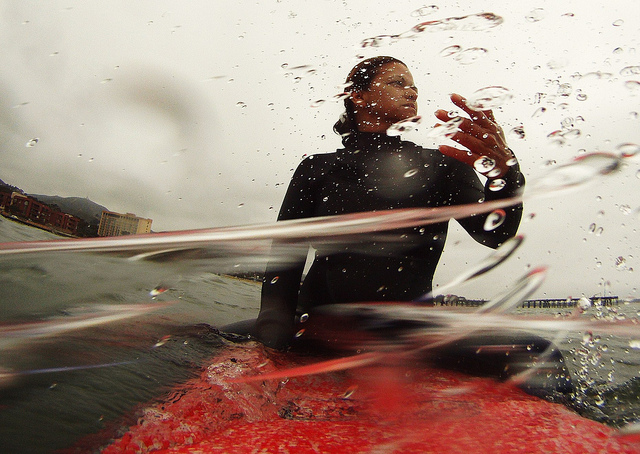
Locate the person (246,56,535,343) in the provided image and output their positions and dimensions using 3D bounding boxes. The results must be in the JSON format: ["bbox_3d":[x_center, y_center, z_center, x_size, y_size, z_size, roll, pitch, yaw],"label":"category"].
[{"bbox_3d":[0.218,-0.173,1.739,1.004,1.170,0.739,6,13,-11],"label":"person"}]
